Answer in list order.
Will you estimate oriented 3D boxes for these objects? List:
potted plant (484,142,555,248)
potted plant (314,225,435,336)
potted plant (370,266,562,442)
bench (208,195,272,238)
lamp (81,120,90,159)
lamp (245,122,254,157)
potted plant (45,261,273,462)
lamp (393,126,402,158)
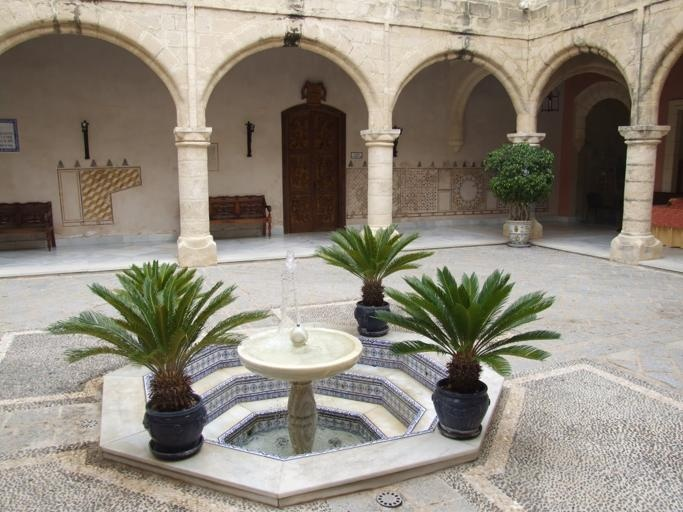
[{"bbox_3d":[4.384,-1.574,11.146,1.316,2.295,2.550,7,16,25],"label":"potted plant"},{"bbox_3d":[0.361,0.133,5.352,1.311,1.190,1.287,-1,16,-7],"label":"potted plant"},{"bbox_3d":[0.885,0.754,3.338,1.137,1.029,1.154,3,-6,-11],"label":"potted plant"},{"bbox_3d":[-2.541,-0.962,11.284,1.425,0.998,0.942,-3,15,-15],"label":"bench"},{"bbox_3d":[-5.913,-2.678,10.510,0.188,0.882,0.162,-7,16,-25],"label":"lamp"},{"bbox_3d":[-2.344,-2.964,11.601,0.247,0.888,0.190,-2,15,-11],"label":"lamp"},{"bbox_3d":[-1.252,0.645,3.276,1.010,1.046,0.990,5,15,17],"label":"potted plant"},{"bbox_3d":[1.596,-3.289,13.096,0.199,0.892,0.399,12,18,37],"label":"lamp"}]
